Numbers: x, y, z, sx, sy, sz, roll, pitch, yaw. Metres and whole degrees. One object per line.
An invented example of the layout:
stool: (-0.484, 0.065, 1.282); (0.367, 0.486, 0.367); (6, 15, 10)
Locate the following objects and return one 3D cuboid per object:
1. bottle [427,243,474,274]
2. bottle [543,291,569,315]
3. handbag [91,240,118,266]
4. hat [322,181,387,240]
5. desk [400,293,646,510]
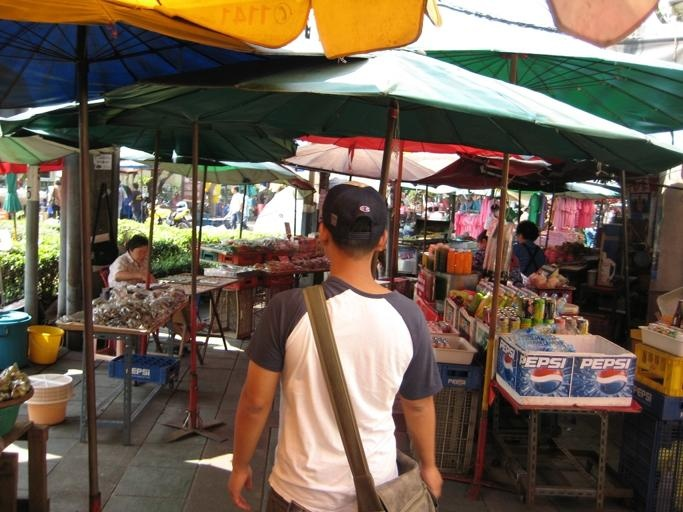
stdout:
bottle: (1.278, 0.030, 6.779); (0.240, 0.304, 0.862); (0, -1, -12)
bottle: (2.147, 0.466, 5.586); (0.215, 0.358, 0.206); (0, -3, 0)
handbag: (-3.401, -0.050, 8.005); (0.116, 0.323, 0.350); (-5, 4, 38)
hat: (0.069, -0.226, 2.724); (0.254, 0.167, 0.315); (0, 18, -6)
desk: (1.808, 1.326, 5.182); (1.447, 1.522, 2.176); (2, -2, -4)
